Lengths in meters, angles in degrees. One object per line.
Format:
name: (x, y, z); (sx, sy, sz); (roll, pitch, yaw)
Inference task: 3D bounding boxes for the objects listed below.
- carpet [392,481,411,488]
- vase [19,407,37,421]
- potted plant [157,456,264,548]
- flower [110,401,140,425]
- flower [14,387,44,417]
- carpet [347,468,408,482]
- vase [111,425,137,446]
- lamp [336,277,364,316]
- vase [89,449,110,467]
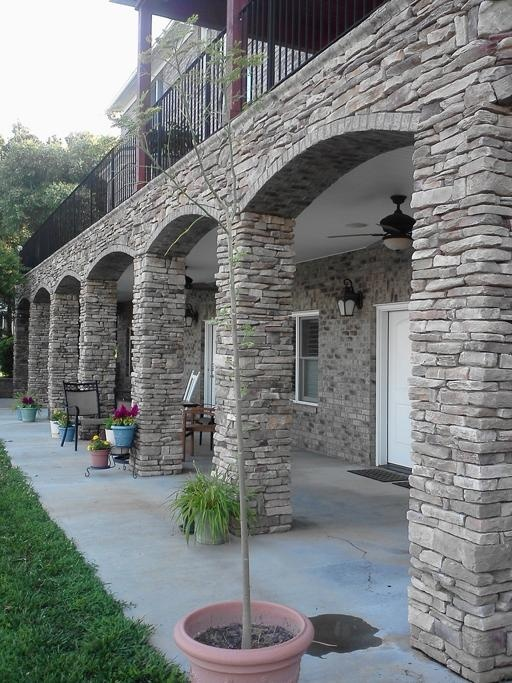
carpet: (1.612, 1.579, 6.262); (0.166, 0.046, 0.432); (2, -4, 10)
vase: (-5.004, 1.585, 12.369); (0.343, 0.251, 0.340); (1, -2, -6)
potted plant: (-0.317, 1.220, 4.388); (0.590, 0.395, 0.601); (-2, -9, 40)
flower: (-1.570, 0.907, 6.957); (0.335, 0.244, 0.334); (2, 1, 26)
flower: (-5.415, 1.455, 13.530); (0.566, 0.392, 0.560); (4, -3, 18)
carpet: (1.498, 1.600, 6.802); (0.528, 0.064, 0.884); (4, -4, -18)
vase: (-1.578, 1.133, 6.767); (0.263, 0.197, 0.261); (2, -5, -12)
lamp: (1.248, -0.630, 7.617); (0.286, 0.549, 0.407); (4, -4, -13)
vase: (-1.899, 1.420, 6.844); (0.234, 0.171, 0.232); (2, -7, -10)
